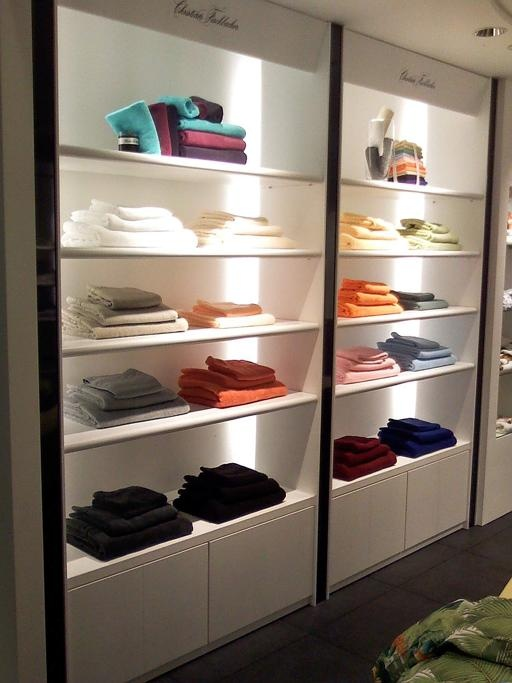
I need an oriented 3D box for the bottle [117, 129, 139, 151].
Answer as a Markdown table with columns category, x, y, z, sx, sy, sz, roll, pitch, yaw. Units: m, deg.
| category | x | y | z | sx | sy | sz | roll | pitch | yaw |
| --- | --- | --- | --- | --- | --- | --- | --- | --- | --- |
| bottle | -0.399 | -0.633 | 1.821 | 0.069 | 0.061 | 0.065 | 4 | 9 | 19 |
